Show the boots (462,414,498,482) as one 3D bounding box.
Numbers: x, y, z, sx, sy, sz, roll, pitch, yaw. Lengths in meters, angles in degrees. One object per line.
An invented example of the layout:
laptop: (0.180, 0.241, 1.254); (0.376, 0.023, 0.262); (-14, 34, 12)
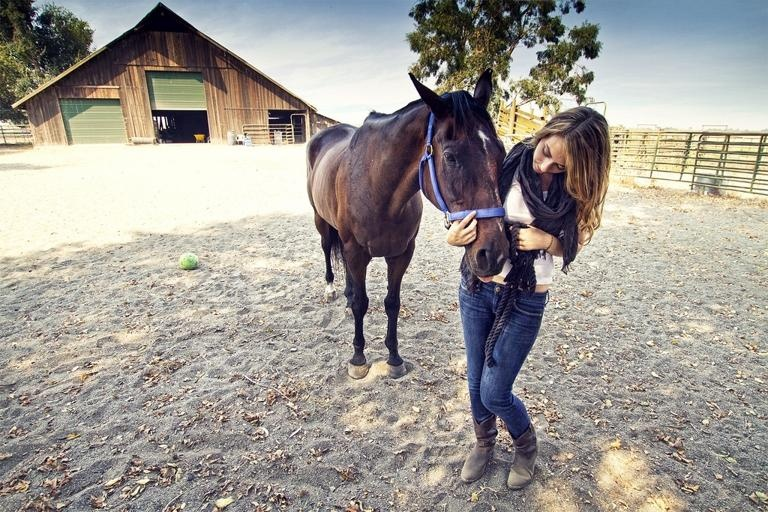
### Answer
boots: (0.969, 1.967, 4.548); (0.257, 0.615, 0.609); (9, 18, 39)

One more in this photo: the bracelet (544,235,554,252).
bracelet: (1.521, -0.097, 4.020); (0.032, 0.118, 0.123); (34, 9, -8)

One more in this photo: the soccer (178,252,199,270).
soccer: (-3.381, 0.101, 7.640); (0.289, 0.297, 0.289); (-1, 10, -15)

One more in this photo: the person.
person: (1.358, 0.503, 4.290); (1.257, 3.713, 0.610); (-5, 15, -14)
